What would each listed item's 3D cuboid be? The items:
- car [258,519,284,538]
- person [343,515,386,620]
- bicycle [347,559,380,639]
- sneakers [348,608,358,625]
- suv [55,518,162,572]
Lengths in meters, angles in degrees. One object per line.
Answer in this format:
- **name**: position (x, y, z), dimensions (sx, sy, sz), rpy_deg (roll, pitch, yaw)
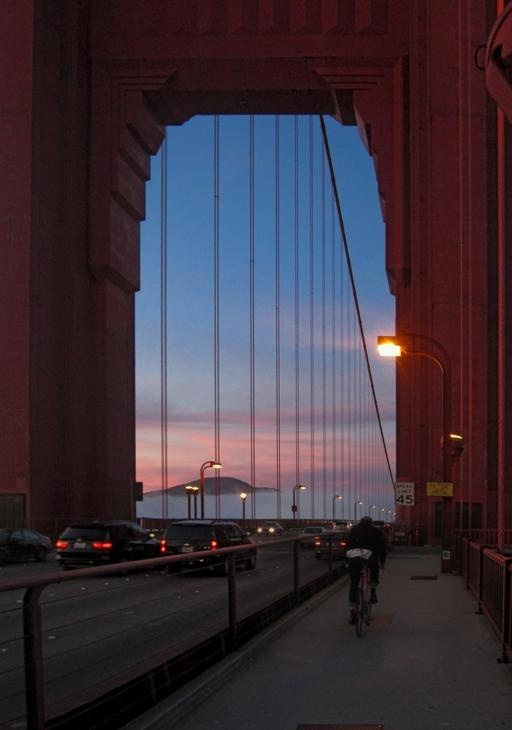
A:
- **car**: position (1.125, 13.469, 73.315), dimensions (1.320, 1.080, 2.653), rpy_deg (2, -7, 14)
- **person**: position (1.310, 2.500, 10.947), dimensions (0.412, 1.235, 1.731), rpy_deg (0, 4, 7)
- **bicycle**: position (1.236, 2.779, 10.528), dimensions (0.374, 0.566, 0.882), rpy_deg (1, -22, 10)
- **sneakers**: position (1.074, 2.799, 9.991), dimensions (0.071, 0.185, 0.128), rpy_deg (-4, -6, 12)
- **suv**: position (-3.591, 4.438, 23.088), dimensions (1.350, 1.302, 3.136), rpy_deg (-3, -4, 24)
